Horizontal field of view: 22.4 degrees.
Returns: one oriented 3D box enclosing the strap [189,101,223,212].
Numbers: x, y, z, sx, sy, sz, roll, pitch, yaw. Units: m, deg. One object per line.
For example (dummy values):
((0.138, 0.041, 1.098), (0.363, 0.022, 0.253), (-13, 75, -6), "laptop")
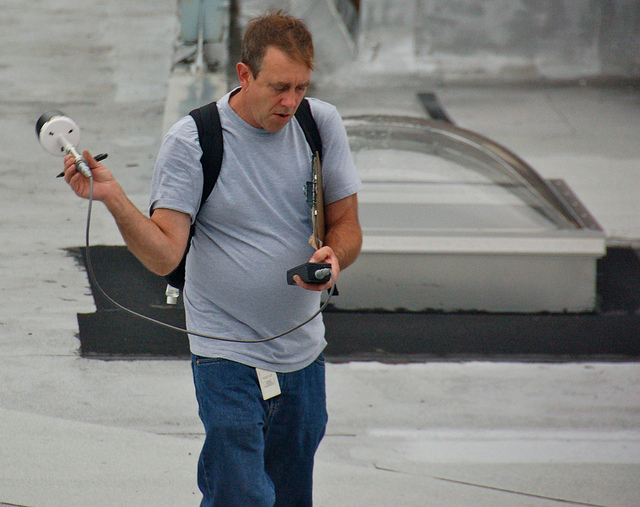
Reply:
((-0.466, -0.395, 6.715), (0.127, 0.424, 0.145), (-5, 14, -7), "strap")
